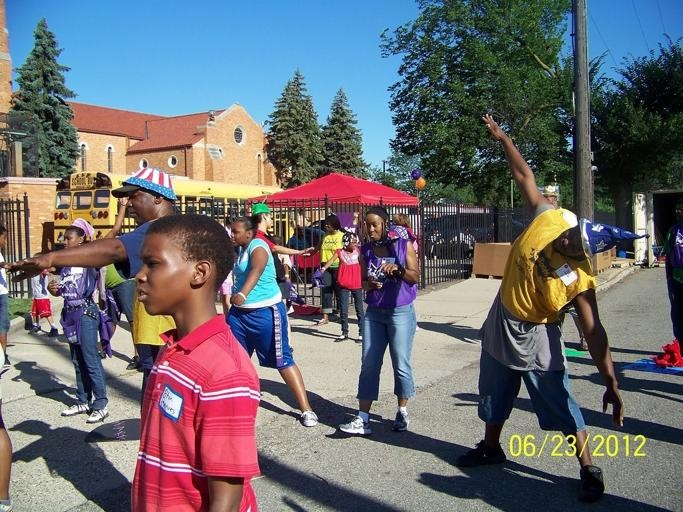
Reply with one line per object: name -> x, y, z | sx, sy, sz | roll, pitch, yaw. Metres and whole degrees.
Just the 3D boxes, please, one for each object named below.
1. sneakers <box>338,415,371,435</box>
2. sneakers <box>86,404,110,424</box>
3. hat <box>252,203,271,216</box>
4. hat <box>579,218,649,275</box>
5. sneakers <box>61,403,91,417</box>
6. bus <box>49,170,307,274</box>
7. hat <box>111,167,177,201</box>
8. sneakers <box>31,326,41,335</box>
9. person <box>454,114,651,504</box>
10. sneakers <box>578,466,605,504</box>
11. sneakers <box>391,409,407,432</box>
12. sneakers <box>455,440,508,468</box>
sneakers -> 0.135, 1.724, 5.370 | 0.341, 0.218, 0.147 | 2, -3, -4
sneakers -> -2.649, 1.753, 5.752 | 0.097, 0.148, 0.284 | 0, -5, 9
hat -> -1.140, -0.668, 7.434 | 0.177, 0.142, 0.257 | -2, 3, -1
hat -> 1.882, -0.088, 3.660 | 0.417, 0.243, 0.270 | -1, 10, 9
sneakers -> -2.953, 1.718, 5.885 | 0.311, 0.158, 0.124 | 5, -1, -17
bus -> -4.603, -0.602, 18.643 | 9.036, 4.205, 3.086 | 2, -10, 14
hat -> -1.543, -0.569, 4.136 | 0.462, 0.272, 0.438 | -3, 3, -23
sneakers -> -5.878, 1.426, 10.126 | 0.107, 0.145, 0.318 | -12, -1, -33
person -> 1.615, 0.379, 4.140 | 0.542, 3.058, 1.288 | -3, 3, -34
sneakers -> 1.959, 1.801, 4.152 | 0.127, 0.376, 0.156 | -10, -32, 21
sneakers -> 0.617, 1.679, 5.448 | 0.158, 0.255, 0.189 | -1, 3, 6
sneakers -> 1.240, 1.775, 4.730 | 0.445, 0.226, 0.197 | 0, -4, -3
